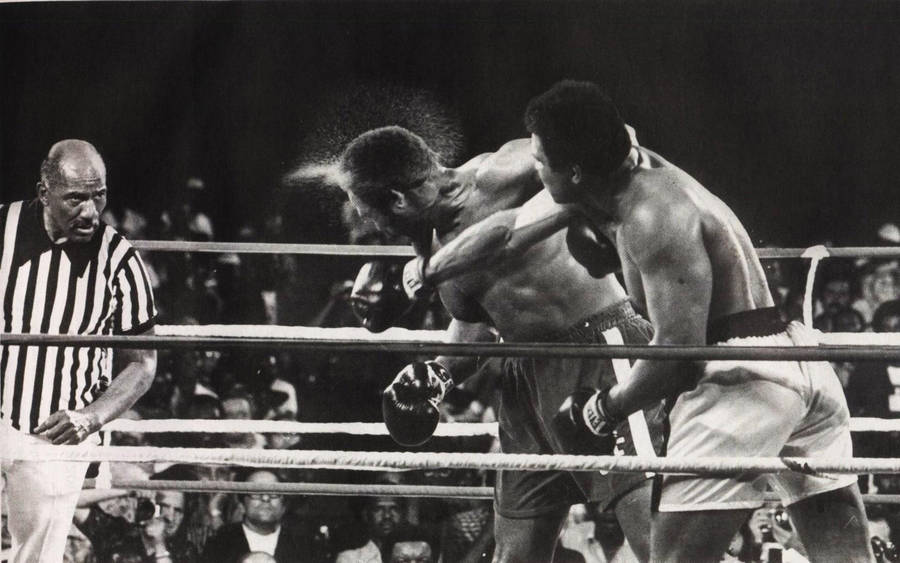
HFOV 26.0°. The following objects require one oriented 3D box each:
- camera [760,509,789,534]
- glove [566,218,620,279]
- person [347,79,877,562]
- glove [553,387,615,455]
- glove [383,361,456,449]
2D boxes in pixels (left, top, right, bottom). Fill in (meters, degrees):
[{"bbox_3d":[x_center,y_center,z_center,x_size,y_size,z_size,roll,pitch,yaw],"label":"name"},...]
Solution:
[{"bbox_3d":[1.180,0.866,7.064,0.080,0.084,0.034,0,-7,5],"label":"camera"},{"bbox_3d":[0.519,-0.118,7.093,0.175,0.234,0.096,-46,1,4],"label":"glove"},{"bbox_3d":[0.621,0.157,7.073,1.672,1.754,0.445,-3,-7,9],"label":"person"},{"bbox_3d":[0.440,0.514,7.144,0.218,0.239,0.224,-1,-25,-9],"label":"glove"},{"bbox_3d":[-0.117,0.448,7.179,0.270,0.306,0.160,27,-1,10],"label":"glove"}]
